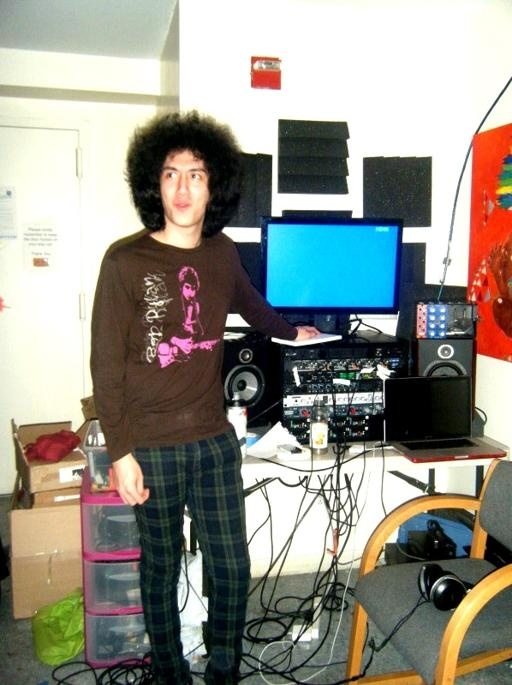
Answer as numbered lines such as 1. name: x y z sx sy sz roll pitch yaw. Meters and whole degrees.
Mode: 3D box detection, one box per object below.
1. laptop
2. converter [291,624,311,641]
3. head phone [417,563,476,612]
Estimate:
1. laptop: 0.651 0.240 2.098 0.393 0.274 0.291 -1 4 -12
2. converter: 0.165 1.038 2.195 0.058 0.037 0.058 0 -2 -1
3. head phone: 0.534 0.645 1.653 0.174 0.096 0.136 -6 -1 -2
